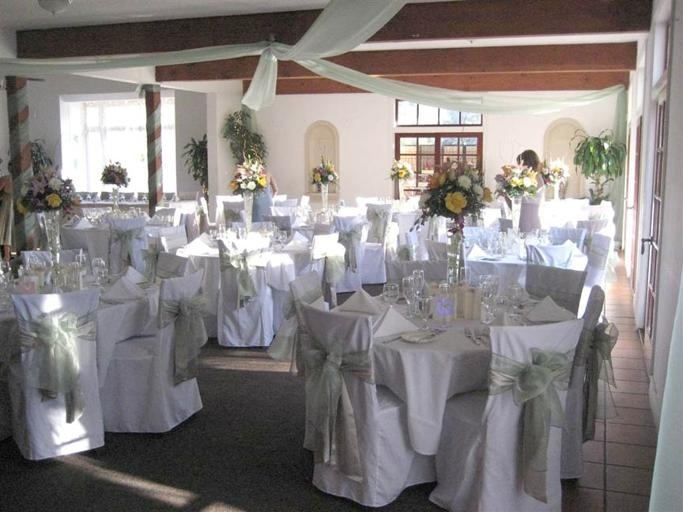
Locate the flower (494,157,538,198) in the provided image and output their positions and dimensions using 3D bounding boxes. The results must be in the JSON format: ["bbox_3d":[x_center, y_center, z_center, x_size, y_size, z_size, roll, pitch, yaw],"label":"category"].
[{"bbox_3d":[2.306,-1.003,7.153,0.507,0.531,0.533,3,7,-9],"label":"flower"}]

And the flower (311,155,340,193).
[{"bbox_3d":[-0.298,-1.418,9.199,0.431,0.629,0.436,-7,14,-5],"label":"flower"}]

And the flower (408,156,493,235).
[{"bbox_3d":[0.867,-0.479,4.048,0.478,0.627,0.550,2,10,28],"label":"flower"}]

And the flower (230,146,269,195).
[{"bbox_3d":[-1.249,-1.076,7.263,0.466,0.450,0.837,-1,11,-2],"label":"flower"}]

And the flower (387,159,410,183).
[{"bbox_3d":[1.187,-1.636,10.474,0.483,0.395,0.521,3,9,23],"label":"flower"}]

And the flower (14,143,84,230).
[{"bbox_3d":[-2.476,-0.581,4.684,0.441,0.719,0.475,-12,28,-12],"label":"flower"}]

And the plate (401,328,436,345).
[{"bbox_3d":[0.456,0.482,3.135,0.217,0.032,0.146,0,12,2],"label":"plate"}]
